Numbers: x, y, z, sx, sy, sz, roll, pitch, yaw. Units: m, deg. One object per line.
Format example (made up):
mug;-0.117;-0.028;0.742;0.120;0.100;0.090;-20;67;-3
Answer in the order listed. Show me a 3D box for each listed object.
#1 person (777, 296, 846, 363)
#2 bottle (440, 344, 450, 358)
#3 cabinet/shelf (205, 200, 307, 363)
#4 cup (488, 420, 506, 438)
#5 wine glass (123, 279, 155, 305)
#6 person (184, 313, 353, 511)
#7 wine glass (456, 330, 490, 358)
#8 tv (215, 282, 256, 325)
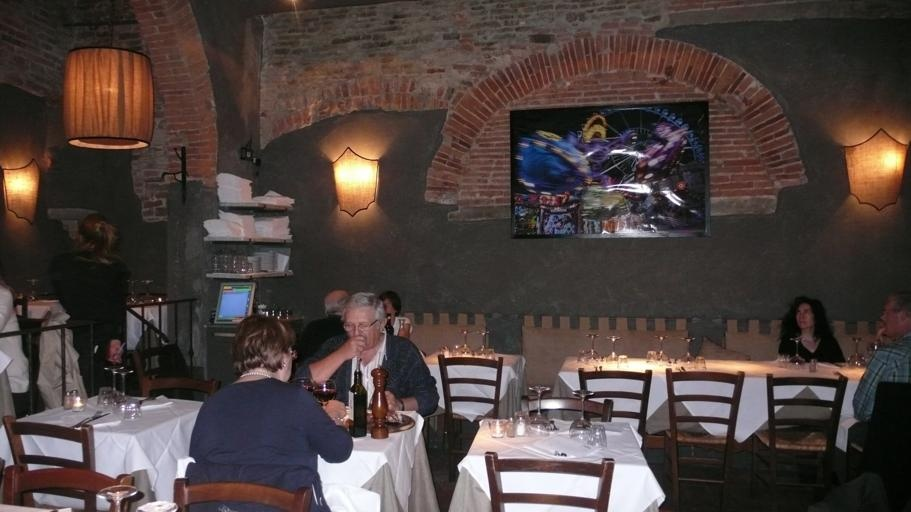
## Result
person;4.452;0.946;10.047;0.480;0.726;0.699;14;-15;-22
bottle;-0.137;1.196;10.005;0.116;0.098;0.190;0;20;-1
cabinet/shelf;-2.579;0.279;10.220;0.794;2.021;2.439;0;-2;8
cup;0.402;1.683;7.820;0.155;0.100;0.170;-2;-6;0
wine glass;-4.544;0.526;11.541;0.396;0.310;0.195;1;-9;-16
person;-1.628;1.390;7.023;1.327;1.715;0.457;2;-1;-19
wine glass;0.224;1.154;10.487;0.347;0.254;0.117;0;-9;1
tv;-2.858;0.625;10.422;0.676;0.618;0.079;2;-21;1
